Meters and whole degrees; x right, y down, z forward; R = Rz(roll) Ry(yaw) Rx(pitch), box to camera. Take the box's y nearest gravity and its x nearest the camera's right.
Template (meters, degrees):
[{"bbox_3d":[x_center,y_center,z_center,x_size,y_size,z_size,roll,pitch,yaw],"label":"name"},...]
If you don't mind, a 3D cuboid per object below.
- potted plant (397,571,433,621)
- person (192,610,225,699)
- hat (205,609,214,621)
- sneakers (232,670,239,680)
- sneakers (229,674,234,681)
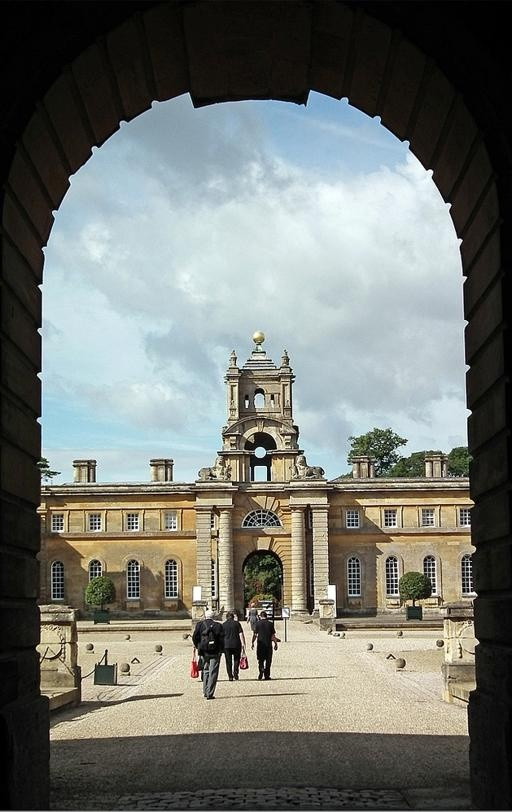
[{"bbox_3d":[9.843,10.956,45.543,1.997,2.925,2.022,0,-12,0],"label":"potted plant"},{"bbox_3d":[-0.860,4.502,14.262,0.523,1.458,1.241,0,-10,-4],"label":"person"},{"bbox_3d":[-0.868,3.932,14.820,0.130,0.217,0.201,3,14,7],"label":"hat"},{"bbox_3d":[-0.443,6.031,17.557,0.066,0.206,0.077,-4,-13,-3],"label":"sneakers"},{"bbox_3d":[-0.535,6.034,17.371,0.060,0.122,0.064,0,-22,-8],"label":"sneakers"}]
